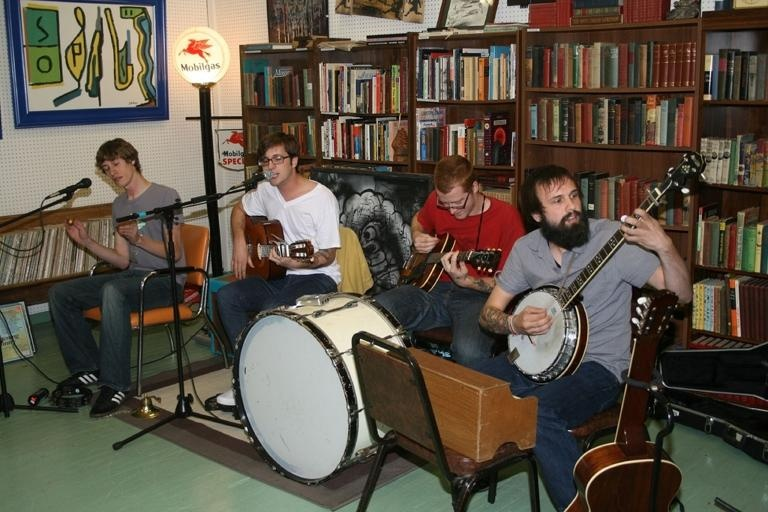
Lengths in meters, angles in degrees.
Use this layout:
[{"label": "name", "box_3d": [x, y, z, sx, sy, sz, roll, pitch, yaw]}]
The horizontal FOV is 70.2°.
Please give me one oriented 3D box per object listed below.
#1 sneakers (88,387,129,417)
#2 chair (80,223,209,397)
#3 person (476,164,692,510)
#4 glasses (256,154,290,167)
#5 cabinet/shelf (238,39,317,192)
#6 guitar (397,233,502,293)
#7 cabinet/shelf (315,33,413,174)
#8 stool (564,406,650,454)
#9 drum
[{"label": "sneakers", "box_3d": [-2.121, 1.109, 4.182, 0.129, 0.141, 0.319, 2, -1, 12]}, {"label": "chair", "box_3d": [-1.926, 0.425, 4.582, 0.846, 1.296, 0.788, -5, 10, -39]}, {"label": "person", "box_3d": [1.027, 0.273, 2.899, 0.393, 2.051, 1.037, 8, 13, -30]}, {"label": "glasses", "box_3d": [-0.828, -0.725, 4.120, 0.256, 0.104, 0.128, -2, 11, -1]}, {"label": "cabinet/shelf", "box_3d": [-1.096, -1.625, 5.997, 0.784, 1.387, 0.356, -11, -9, 8]}, {"label": "guitar", "box_3d": [0.441, 0.046, 3.862, 0.138, 0.494, 0.972, 38, -23, -26]}, {"label": "cabinet/shelf", "box_3d": [-0.137, -1.500, 5.530, 1.193, 1.205, 0.426, 9, 10, 31]}, {"label": "stool", "box_3d": [1.085, 0.846, 2.679, 0.225, 0.268, 0.296, -4, 6, -23]}, {"label": "drum", "box_3d": [-0.437, 0.702, 3.293, 0.861, 0.930, 0.612, 5, 20, 21]}]
